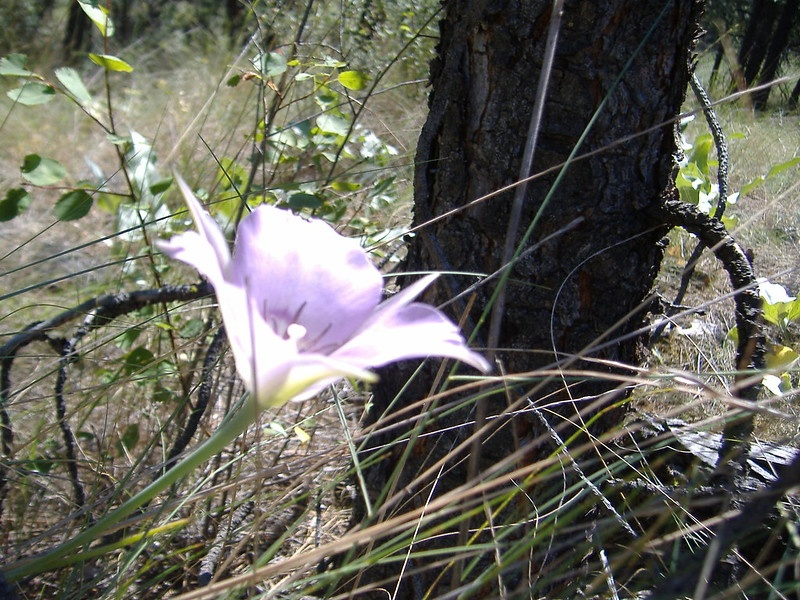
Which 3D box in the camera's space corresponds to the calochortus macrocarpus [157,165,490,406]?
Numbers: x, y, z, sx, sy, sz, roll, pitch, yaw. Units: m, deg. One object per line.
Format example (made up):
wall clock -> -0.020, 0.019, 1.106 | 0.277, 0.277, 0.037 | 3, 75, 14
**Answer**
calochortus macrocarpus -> -0.205, 0.018, 2.248 | 0.669, 0.367, 0.655 | 31, 1, -25
